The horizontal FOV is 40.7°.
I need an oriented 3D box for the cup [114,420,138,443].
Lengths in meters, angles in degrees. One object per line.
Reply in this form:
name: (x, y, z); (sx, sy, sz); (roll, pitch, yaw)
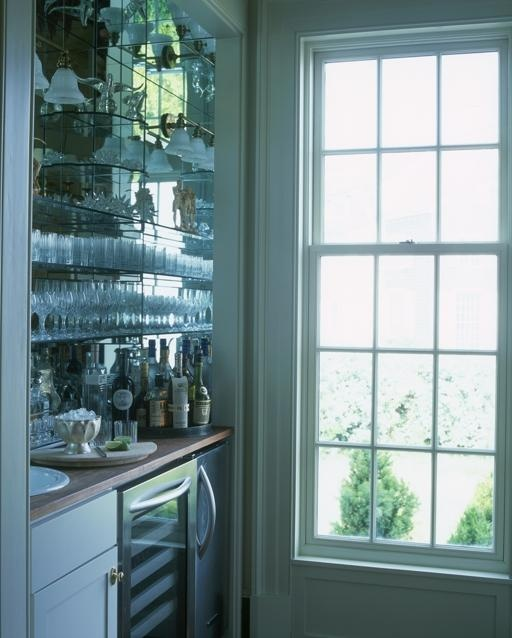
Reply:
cup: (-0.401, 0.344, 2.132); (0.058, 0.074, 0.062); (0, -1, 0)

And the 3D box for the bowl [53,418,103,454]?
bowl: (-0.496, 0.316, 1.907); (0.091, 0.080, 0.100); (-1, -7, 0)

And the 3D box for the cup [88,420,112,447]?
cup: (-0.454, 0.331, 2.033); (0.073, 0.096, 0.078); (1, -5, 0)

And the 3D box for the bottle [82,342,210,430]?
bottle: (-0.382, 0.214, 2.408); (0.390, 0.311, 0.287); (-1, -1, -14)
